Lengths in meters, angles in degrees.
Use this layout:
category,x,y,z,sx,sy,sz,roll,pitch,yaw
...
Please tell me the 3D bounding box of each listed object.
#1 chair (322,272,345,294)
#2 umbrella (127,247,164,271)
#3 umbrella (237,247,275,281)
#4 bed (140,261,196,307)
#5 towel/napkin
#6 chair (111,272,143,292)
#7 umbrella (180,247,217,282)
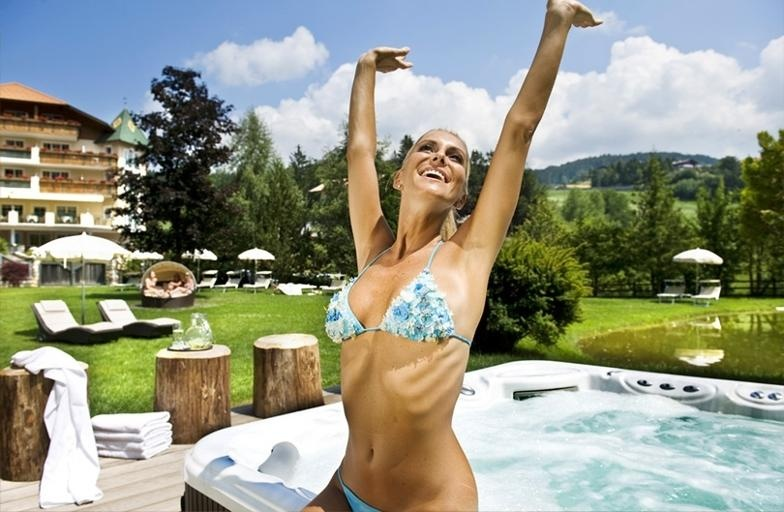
category,x,y,z,sx,sy,sz,roll,pitch,yaw
chair,-3.001,1.399,30.683,0.951,1.052,1.685,0,3,21
umbrella,-13.342,0.109,32.697,1.280,0.960,1.386,0,-3,11
umbrella,-7.787,0.797,35.015,2.118,2.452,2.235,5,4,29
bed,-9.573,1.189,25.994,2.086,2.040,2.169,2,3,-14
towel/napkin,-6.830,3.547,12.598,1.793,3.226,0.659,-1,-1,8
chair,-15.753,1.580,35.682,0.756,0.671,1.491,0,-8,5
umbrella,-10.236,0.698,32.396,1.928,2.250,2.026,4,1,30
